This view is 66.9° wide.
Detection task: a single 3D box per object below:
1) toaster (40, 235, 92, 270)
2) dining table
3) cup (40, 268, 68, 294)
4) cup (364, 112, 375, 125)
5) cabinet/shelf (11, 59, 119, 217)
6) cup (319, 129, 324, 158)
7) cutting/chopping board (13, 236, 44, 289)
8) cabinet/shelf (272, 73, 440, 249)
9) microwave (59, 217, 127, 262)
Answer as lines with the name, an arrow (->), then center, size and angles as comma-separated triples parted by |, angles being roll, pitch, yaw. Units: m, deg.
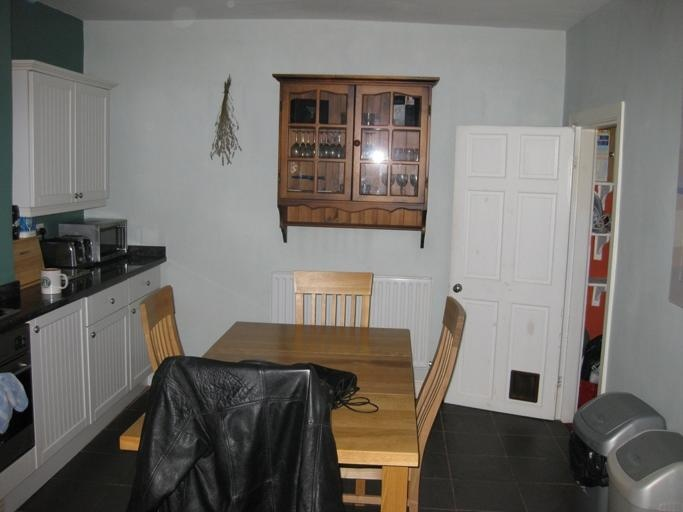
toaster -> -2.173, -0.023, 4.083 | 0.322, 0.264, 0.240 | 0, 0, -17
dining table -> -0.125, 0.682, 2.874 | 1.000, 0.425, 1.698 | 1, 13, 3
cup -> -1.974, 0.176, 3.630 | 0.183, 0.186, 0.125 | 4, 0, -9
cup -> 0.224, -1.126, 4.251 | 0.081, 0.099, 0.091 | 0, 3, 6
cabinet/shelf -> -2.155, -0.888, 4.069 | 0.247, 1.068, 1.006 | 7, 11, 8
cup -> -0.161, -0.924, 4.279 | 0.046, 0.215, 0.030 | 1, 12, -2
cutting/chopping board -> -2.263, 0.054, 3.738 | 0.119, 0.311, 0.308 | -1, 10, 3
cabinet/shelf -> 0.142, -0.861, 4.342 | 1.255, 1.481, 0.437 | 1, 6, 3
microwave -> -2.114, -0.255, 4.427 | 0.314, 0.359, 0.514 | 1, 9, 3
